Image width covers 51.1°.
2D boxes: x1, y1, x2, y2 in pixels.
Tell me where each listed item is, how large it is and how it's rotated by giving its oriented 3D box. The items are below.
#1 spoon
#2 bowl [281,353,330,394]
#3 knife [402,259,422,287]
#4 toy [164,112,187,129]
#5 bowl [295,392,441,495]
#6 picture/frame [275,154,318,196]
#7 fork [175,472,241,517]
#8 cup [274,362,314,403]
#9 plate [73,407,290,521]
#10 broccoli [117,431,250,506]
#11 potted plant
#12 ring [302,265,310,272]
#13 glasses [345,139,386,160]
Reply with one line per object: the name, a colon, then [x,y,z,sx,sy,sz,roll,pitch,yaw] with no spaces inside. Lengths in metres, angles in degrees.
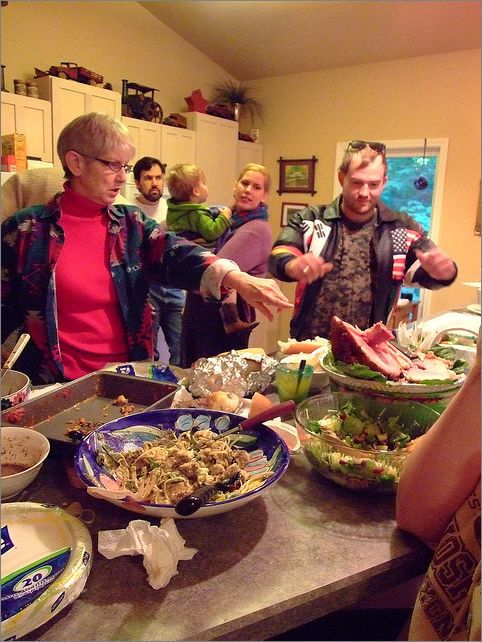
spoon: [-0.032,0.226,1.028,0.282,0.039,0.048,-19,43,14]
bowl: [0.191,0.143,1.426,0.132,0.052,0.119,2,5,1]
knife: [0.775,-0.215,2.301,0.044,0.103,0.079,9,31,-10]
toy: [-0.632,-1.965,4.978,0.237,0.073,0.182,-3,21,-42]
bowl: [0.218,0.195,0.972,0.227,0.081,0.215,0,7,0]
picture/frame: [0.642,-1.628,5.591,0.593,0.441,0.027,7,10,38]
fork: [-0.043,0.255,0.767,0.027,0.027,0.159,-6,0,24]
cup: [0.136,0.158,1.342,0.104,0.100,0.105,2,15,-1]
plate: [-0.108,0.246,0.887,0.228,0.048,0.197,1,17,-1]
broccoli: [-0.102,0.247,0.851,0.128,0.042,0.123,7,13,16]
potted plant: [-0.087,-2.465,5.639,0.739,0.552,0.699,6,16,8]
ring: [0.232,-0.183,1.771,0.018,0.030,0.054,4,15,7]
glasses: [0.581,-0.807,2.346,0.167,0.083,0.225,4,14,9]
